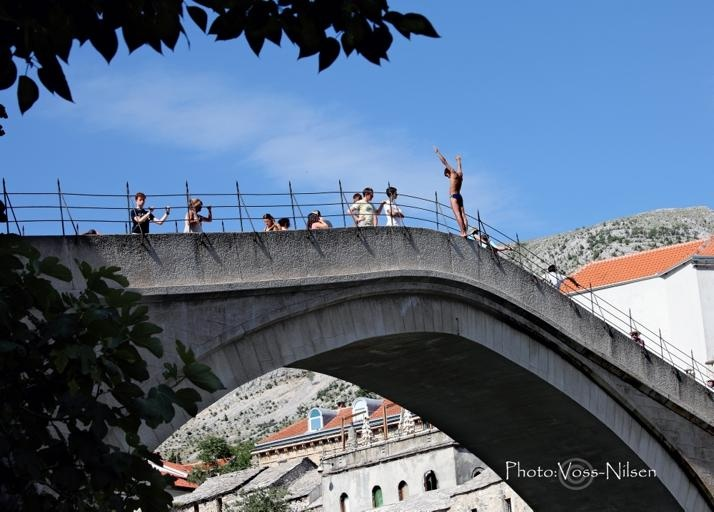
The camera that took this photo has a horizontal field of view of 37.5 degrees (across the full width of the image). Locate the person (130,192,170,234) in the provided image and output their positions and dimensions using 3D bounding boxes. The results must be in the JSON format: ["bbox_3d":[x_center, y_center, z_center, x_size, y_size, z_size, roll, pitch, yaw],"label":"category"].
[{"bbox_3d":[-3.091,-0.599,15.816,0.641,0.759,0.431,-3,4,6],"label":"person"}]
